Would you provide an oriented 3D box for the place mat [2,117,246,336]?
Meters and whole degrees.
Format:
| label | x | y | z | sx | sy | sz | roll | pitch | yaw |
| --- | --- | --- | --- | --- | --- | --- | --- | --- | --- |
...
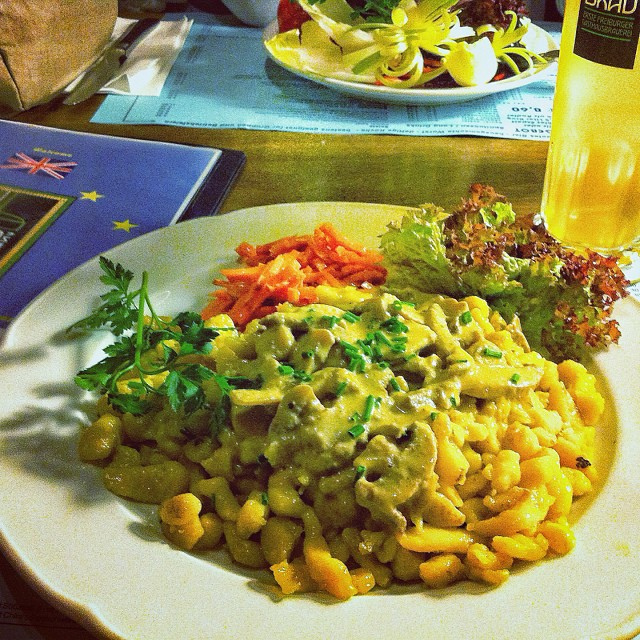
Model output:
| label | x | y | z | sx | sy | sz | roll | pitch | yaw |
| --- | --- | --- | --- | --- | --- | --- | --- | --- | --- |
| place mat | -0.627 | -0.416 | 1.932 | 0.799 | 0.036 | 1.023 | -22 | 48 | -17 |

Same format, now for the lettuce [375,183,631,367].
| label | x | y | z | sx | sy | sz | roll | pitch | yaw |
| --- | --- | --- | --- | --- | --- | --- | --- | --- | --- |
| lettuce | 0.403 | -0.108 | 1.429 | 0.573 | 0.237 | 0.327 | 22 | 54 | 23 |
